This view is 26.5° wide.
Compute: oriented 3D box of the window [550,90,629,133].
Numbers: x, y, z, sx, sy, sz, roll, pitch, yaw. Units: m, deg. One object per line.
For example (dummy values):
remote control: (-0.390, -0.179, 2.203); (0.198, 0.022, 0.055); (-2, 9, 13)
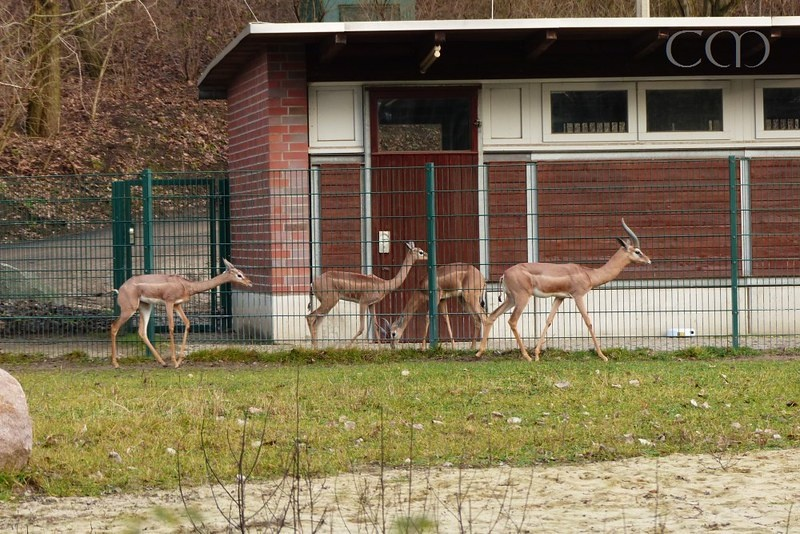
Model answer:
window: (3.861, -3.220, 34.637); (2.348, 1.448, 0.123); (-3, 0, -28)

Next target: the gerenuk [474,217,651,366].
gerenuk: (3.119, 0.437, 32.489); (3.116, 2.856, 0.813); (0, 1, 3)

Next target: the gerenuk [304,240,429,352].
gerenuk: (-0.687, 0.491, 33.239); (2.331, 2.161, 0.627); (1, 10, 3)

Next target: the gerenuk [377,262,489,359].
gerenuk: (0.804, 0.733, 33.087); (1.731, 1.655, 1.007); (-1, -1, 2)

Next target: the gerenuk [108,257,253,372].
gerenuk: (-4.403, 0.857, 32.425); (2.235, 2.023, 0.993); (-1, -1, -12)
